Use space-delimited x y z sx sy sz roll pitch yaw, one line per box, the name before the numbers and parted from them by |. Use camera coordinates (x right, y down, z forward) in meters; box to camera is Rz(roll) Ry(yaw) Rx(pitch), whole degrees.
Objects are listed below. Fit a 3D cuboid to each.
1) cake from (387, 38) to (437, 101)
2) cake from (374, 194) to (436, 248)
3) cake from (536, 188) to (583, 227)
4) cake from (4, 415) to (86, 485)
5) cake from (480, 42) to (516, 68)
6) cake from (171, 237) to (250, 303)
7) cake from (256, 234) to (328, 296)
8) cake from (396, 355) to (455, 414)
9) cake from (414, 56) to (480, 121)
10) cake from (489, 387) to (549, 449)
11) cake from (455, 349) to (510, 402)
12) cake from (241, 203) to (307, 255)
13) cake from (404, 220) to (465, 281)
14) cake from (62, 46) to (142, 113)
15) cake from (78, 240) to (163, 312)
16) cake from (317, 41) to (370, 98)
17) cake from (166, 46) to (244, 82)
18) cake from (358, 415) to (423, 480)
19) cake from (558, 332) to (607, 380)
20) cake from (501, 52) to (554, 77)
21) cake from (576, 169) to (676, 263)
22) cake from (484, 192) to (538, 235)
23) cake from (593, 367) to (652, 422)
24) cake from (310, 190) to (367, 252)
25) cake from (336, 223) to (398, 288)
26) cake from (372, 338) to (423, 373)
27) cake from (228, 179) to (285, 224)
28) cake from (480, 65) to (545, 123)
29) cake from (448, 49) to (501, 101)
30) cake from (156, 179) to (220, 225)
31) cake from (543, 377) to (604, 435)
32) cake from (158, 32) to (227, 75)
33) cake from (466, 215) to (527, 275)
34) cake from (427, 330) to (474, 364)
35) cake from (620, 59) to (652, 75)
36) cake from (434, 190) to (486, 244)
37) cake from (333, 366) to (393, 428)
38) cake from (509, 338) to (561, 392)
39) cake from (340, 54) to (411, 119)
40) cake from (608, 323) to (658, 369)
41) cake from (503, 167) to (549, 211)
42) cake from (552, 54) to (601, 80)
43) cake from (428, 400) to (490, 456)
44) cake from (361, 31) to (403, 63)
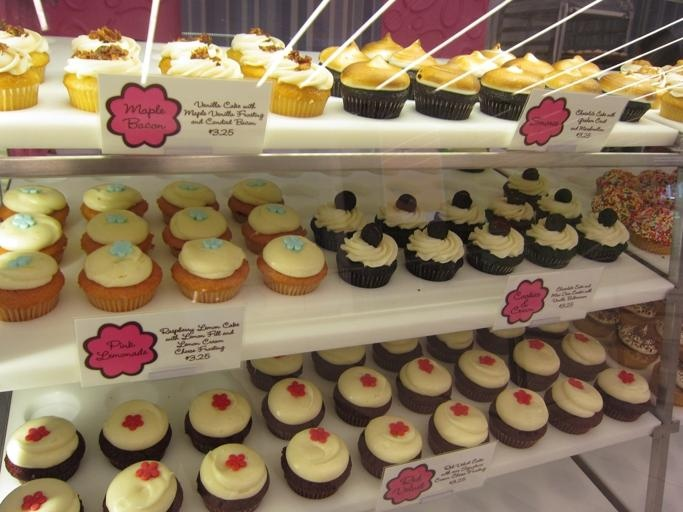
cake | 0.212 -0.596 1.653 0.194 0.197 0.193 -4 24 -6
cake | 0.229 -0.145 1.895 0.198 0.164 0.203 3 23 4
cake | 0.876 -0.215 2.186 0.184 0.140 0.171 0 17 -4
cake | -0.909 0.590 1.626 0.202 0.137 0.206 16 26 -7
cake | 0.497 -0.656 1.693 0.079 0.044 0.074 10 35 16
cake | -0.388 0.040 1.529 0.195 0.126 0.202 4 29 -11
cake | -0.154 0.032 1.632 0.195 0.116 0.194 6 30 -13
cake | 0.308 0.493 1.994 0.218 0.144 0.202 -2 22 -7
cake | 0.330 -0.523 1.635 0.194 0.153 0.189 20 31 26
cake | 0.679 0.606 2.028 0.209 0.133 0.215 0 26 2
cake | 0.548 0.471 2.140 0.203 0.137 0.191 16 22 -7
cake | -0.248 -0.107 1.872 0.180 0.121 0.197 4 17 -2
cake | 0.293 -0.017 1.870 0.227 0.174 0.209 -2 30 -7
cake | -0.581 -0.426 1.309 0.178 0.130 0.185 0 32 -8
cake | -0.620 0.058 1.448 0.196 0.132 0.210 5 27 -11
cake | -0.006 -0.572 1.620 0.175 0.151 0.160 3 30 0
cake | -0.340 -0.469 1.268 0.187 0.059 0.156 -11 35 -27
cake | 0.158 0.646 1.781 0.191 0.130 0.202 7 14 9
cake | 1.025 0.441 2.317 0.203 0.155 0.189 8 17 -2
cake | 0.595 -0.607 1.663 0.113 0.046 0.109 -15 36 -32
cake | 1.245 -0.132 2.283 0.400 0.130 0.400 -3 36 0
cake | 0.666 -0.178 2.108 0.181 0.143 0.169 10 26 9
cake | 1.166 0.558 2.210 0.203 0.141 0.211 6 23 10
cake | -0.046 -0.139 1.921 0.230 0.194 0.214 -4 24 -17
cake | 0.085 0.002 1.802 0.230 0.189 0.220 15 27 10
cake | 0.223 0.394 2.157 0.171 0.093 0.159 -1 18 -5
cake | -0.333 -0.216 1.976 0.181 0.119 0.167 -2 27 -13
cake | 0.508 -0.506 1.668 0.199 0.128 0.184 -21 37 -35
cake | 0.434 -0.559 1.669 0.191 0.098 0.178 -14 27 -8
cake | -0.559 -0.208 1.859 0.189 0.114 0.172 4 30 -12
cake | 0.941 0.583 2.104 0.197 0.149 0.226 23 35 35
cake | -0.379 -0.520 1.309 0.157 0.087 0.150 -1 25 -2
cake | 0.552 -0.029 1.889 0.189 0.148 0.210 4 30 4
cake | 0.451 0.380 2.237 0.171 0.094 0.158 0 24 -10
cake | 0.947 -0.606 1.672 0.078 0.023 0.073 -20 37 -9
cake | 0.428 -0.161 2.032 0.193 0.171 0.206 -1 29 -4
cake | 0.075 0.511 1.918 0.213 0.160 0.200 8 26 -6
cake | 0.776 0.442 2.201 0.212 0.162 0.196 1 24 -2
cake | 0.088 -0.478 1.509 0.198 0.145 0.182 3 31 0
cake | 1.261 0.397 2.361 0.210 0.187 0.196 7 27 13
cake | 0.751 -0.275 2.213 0.175 0.149 0.162 -3 29 -10
cake | 0.735 -0.594 1.621 0.101 0.041 0.096 13 35 23
cake | 0.412 0.613 1.919 0.201 0.154 0.186 2 22 -4
cake | 0.131 -0.650 1.625 0.102 0.061 0.092 -2 36 -3
